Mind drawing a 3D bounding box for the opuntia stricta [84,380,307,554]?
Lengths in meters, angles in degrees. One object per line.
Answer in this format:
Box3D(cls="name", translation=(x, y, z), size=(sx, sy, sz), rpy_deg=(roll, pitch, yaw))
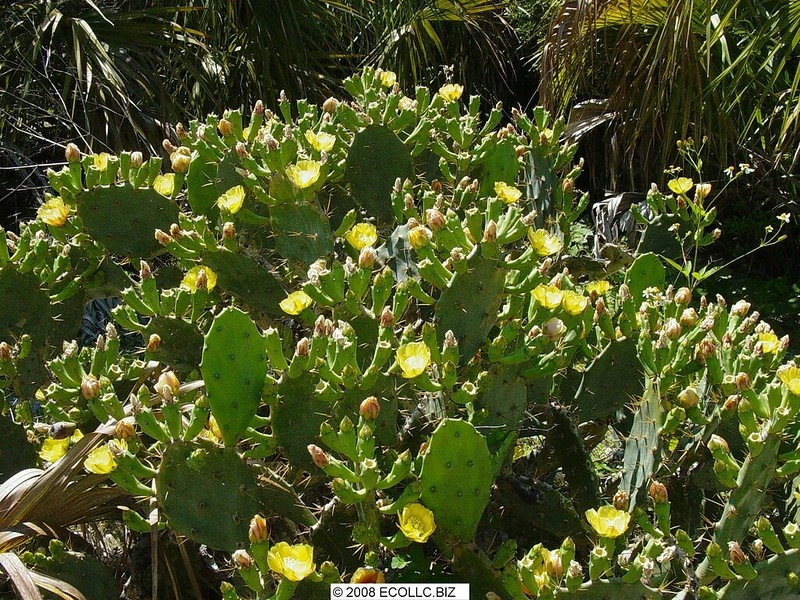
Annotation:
Box3D(cls="opuntia stricta", translation=(-0.540, 0.481, 2.401), size=(0.403, 0.148, 0.471), rpy_deg=(-33, 91, -39))
